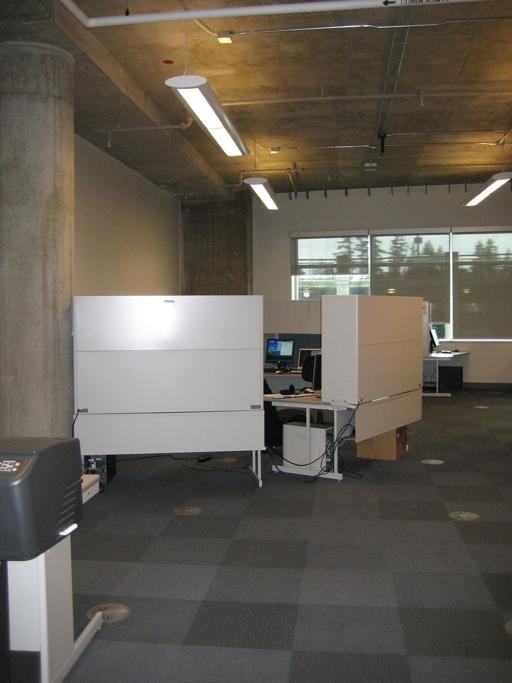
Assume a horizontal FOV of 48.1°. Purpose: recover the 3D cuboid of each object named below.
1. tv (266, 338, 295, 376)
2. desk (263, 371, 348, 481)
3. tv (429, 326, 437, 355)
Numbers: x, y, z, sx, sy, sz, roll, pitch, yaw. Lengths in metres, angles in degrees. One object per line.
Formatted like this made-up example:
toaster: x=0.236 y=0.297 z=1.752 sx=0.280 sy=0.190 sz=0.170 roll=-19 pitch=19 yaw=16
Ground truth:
tv: x=0.293 y=0.181 z=6.927 sx=0.419 sy=0.459 sz=0.168 roll=3 pitch=0 yaw=22
desk: x=0.443 y=0.791 z=5.125 sx=0.707 sy=0.526 sz=0.734 roll=1 pitch=1 yaw=19
tv: x=3.027 y=-0.002 z=9.812 sx=0.148 sy=0.402 sz=0.395 roll=-8 pitch=14 yaw=14
